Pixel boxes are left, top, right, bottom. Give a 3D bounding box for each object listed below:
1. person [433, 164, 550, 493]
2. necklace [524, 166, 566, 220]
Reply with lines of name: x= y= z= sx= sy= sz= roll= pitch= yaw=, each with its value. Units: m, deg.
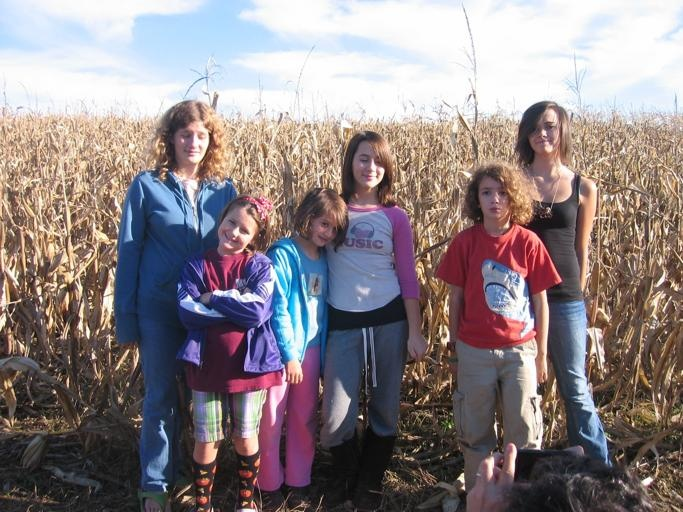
person: x=0.977 y=0.468 z=3.710 sx=0.707 sy=2.103 sz=0.319 roll=4 pitch=4 yaw=34
necklace: x=1.311 y=-0.387 z=3.755 sx=0.182 sy=0.362 sz=0.350 roll=-2 pitch=4 yaw=2
